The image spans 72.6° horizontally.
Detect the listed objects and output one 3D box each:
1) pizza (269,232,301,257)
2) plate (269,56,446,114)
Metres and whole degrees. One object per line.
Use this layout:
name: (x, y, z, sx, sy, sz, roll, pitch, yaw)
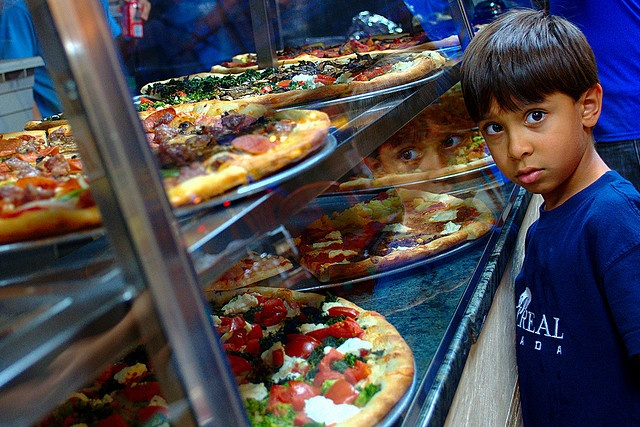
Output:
pizza: (-0.084, 0.085, 1.103, 0.067, 0.056, 0.017, -9, 24, -39)
plate: (0.119, -0.348, 1.163, 0.355, 0.038, 0.266, -15, 8, 11)
